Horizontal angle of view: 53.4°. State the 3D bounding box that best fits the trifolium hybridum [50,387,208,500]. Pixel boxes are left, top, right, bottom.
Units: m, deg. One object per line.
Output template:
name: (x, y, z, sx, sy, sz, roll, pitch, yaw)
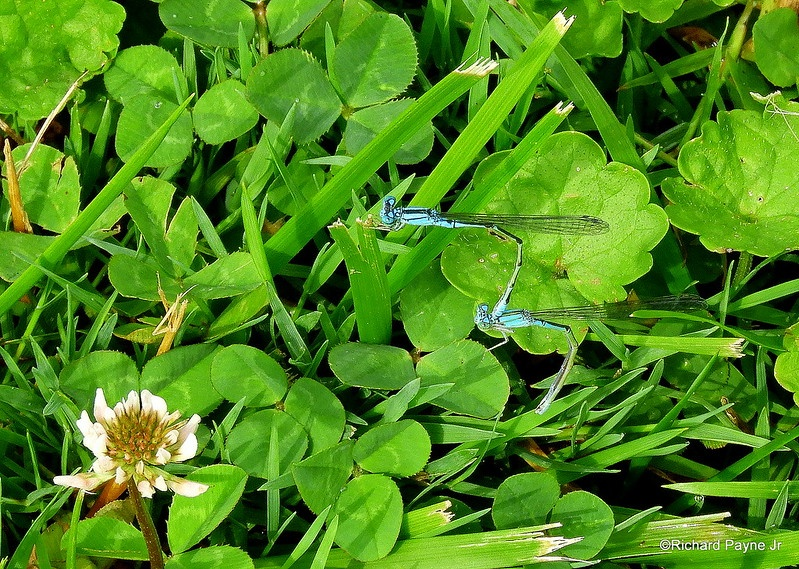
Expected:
trifolium hybridum: (-0.766, 0.473, 2.314, 0.354, 0.144, 0.370, 41, 101, -8)
